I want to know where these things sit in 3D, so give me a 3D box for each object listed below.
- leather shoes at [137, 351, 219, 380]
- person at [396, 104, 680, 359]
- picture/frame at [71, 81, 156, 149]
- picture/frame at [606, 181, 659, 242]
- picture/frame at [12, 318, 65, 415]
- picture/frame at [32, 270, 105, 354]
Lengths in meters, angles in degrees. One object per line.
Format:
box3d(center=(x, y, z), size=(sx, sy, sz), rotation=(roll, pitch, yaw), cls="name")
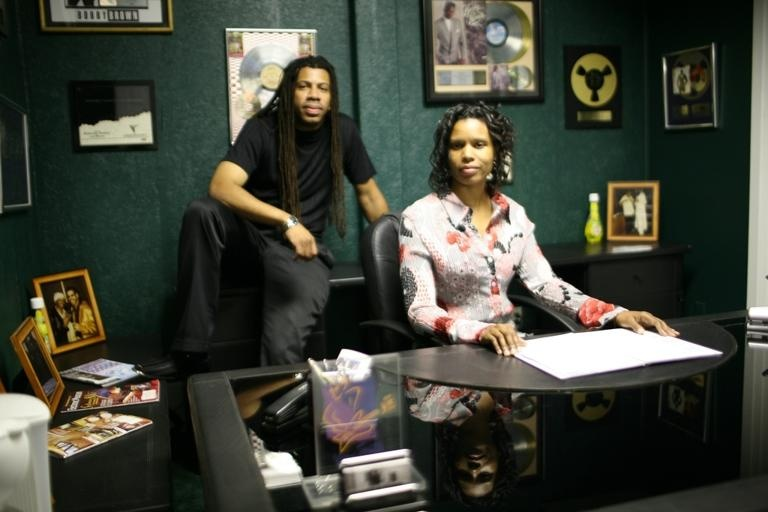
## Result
box3d(center=(-0.963, 0.496, 2.731), size=(0.399, 0.151, 0.140), rotation=(4, -4, -32), cls="leather shoes")
box3d(center=(0.471, -0.115, 2.450), size=(0.870, 1.062, 0.996), rotation=(-5, 5, -36), cls="person")
box3d(center=(-1.565, -0.811, 3.317), size=(0.457, 0.377, 0.025), rotation=(-5, 8, -10), cls="picture/frame")
box3d(center=(1.672, -0.297, 3.857), size=(0.406, 0.501, 0.053), rotation=(2, 0, 31), cls="picture/frame")
box3d(center=(-1.248, 0.388, 2.057), size=(0.023, 0.301, 0.259), rotation=(-25, 21, -3), cls="picture/frame")
box3d(center=(-1.659, 0.295, 2.985), size=(0.031, 0.431, 0.421), rotation=(-14, -3, 27), cls="picture/frame")
